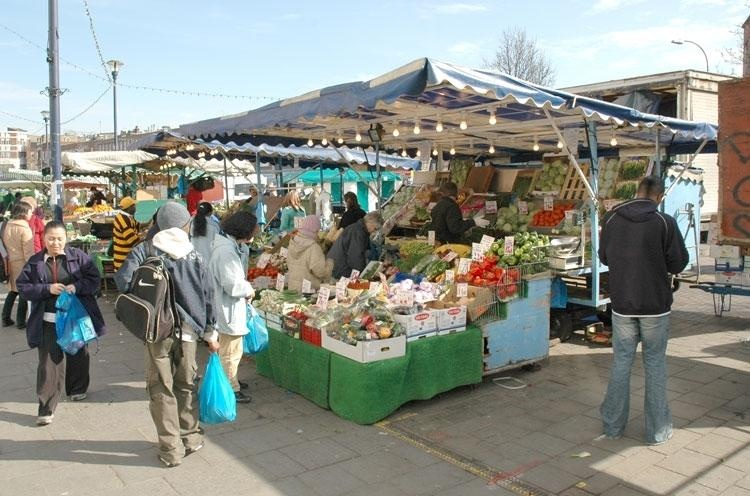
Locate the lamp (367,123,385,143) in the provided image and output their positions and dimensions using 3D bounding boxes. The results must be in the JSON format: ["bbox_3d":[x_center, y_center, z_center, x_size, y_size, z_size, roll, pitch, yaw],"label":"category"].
[{"bbox_3d":[-0.036,-1.834,9.690,0.312,0.238,0.366,4,9,19],"label":"lamp"}]

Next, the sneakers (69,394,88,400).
[{"bbox_3d":[-3.606,1.806,7.402,0.090,0.044,0.135,3,-1,45],"label":"sneakers"}]

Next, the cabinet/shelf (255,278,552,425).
[{"bbox_3d":[-0.088,1.462,7.287,2.770,0.913,1.125,0,8,8],"label":"cabinet/shelf"}]

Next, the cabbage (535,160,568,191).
[{"bbox_3d":[2.906,-1.196,9.896,0.199,0.562,0.434,24,-3,-41],"label":"cabbage"}]

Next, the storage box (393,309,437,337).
[{"bbox_3d":[0.505,0.878,7.131,0.387,0.197,0.357,-3,0,-31],"label":"storage box"}]

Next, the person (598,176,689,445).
[{"bbox_3d":[2.866,0.653,6.551,0.883,2.821,0.535,2,10,17],"label":"person"}]

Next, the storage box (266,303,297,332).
[{"bbox_3d":[-1.186,0.869,7.998,0.365,0.187,0.472,-6,9,-35],"label":"storage box"}]

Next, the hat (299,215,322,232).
[{"bbox_3d":[-0.915,-0.338,8.633,0.282,0.257,0.314,-2,8,-6],"label":"hat"}]

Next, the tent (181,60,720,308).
[{"bbox_3d":[1.470,-0.861,9.405,4.602,1.985,6.154,-2,4,-25],"label":"tent"}]

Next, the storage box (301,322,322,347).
[{"bbox_3d":[-0.771,1.042,7.386,0.283,0.150,0.276,-1,7,-42],"label":"storage box"}]

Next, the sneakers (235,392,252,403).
[{"bbox_3d":[-1.594,1.804,7.459,0.218,0.170,0.100,-2,13,-11],"label":"sneakers"}]

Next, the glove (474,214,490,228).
[{"bbox_3d":[1.709,-0.422,9.640,0.259,0.128,0.129,3,-15,34],"label":"glove"}]

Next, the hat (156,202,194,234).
[{"bbox_3d":[-2.042,-0.317,6.204,0.312,0.316,0.272,-5,10,-26],"label":"hat"}]

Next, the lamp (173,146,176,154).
[{"bbox_3d":[-4.360,-2.116,13.299,0.095,0.102,0.307,-4,8,-17],"label":"lamp"}]

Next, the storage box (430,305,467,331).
[{"bbox_3d":[0.901,0.830,7.372,0.359,0.180,0.331,-7,9,-25],"label":"storage box"}]

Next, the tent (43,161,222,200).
[{"bbox_3d":[-7.656,-2.231,19.827,3.144,0.888,3.327,2,-1,-39],"label":"tent"}]

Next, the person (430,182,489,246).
[{"bbox_3d":[1.399,-0.524,9.743,0.627,1.272,0.589,-24,36,-22],"label":"person"}]
